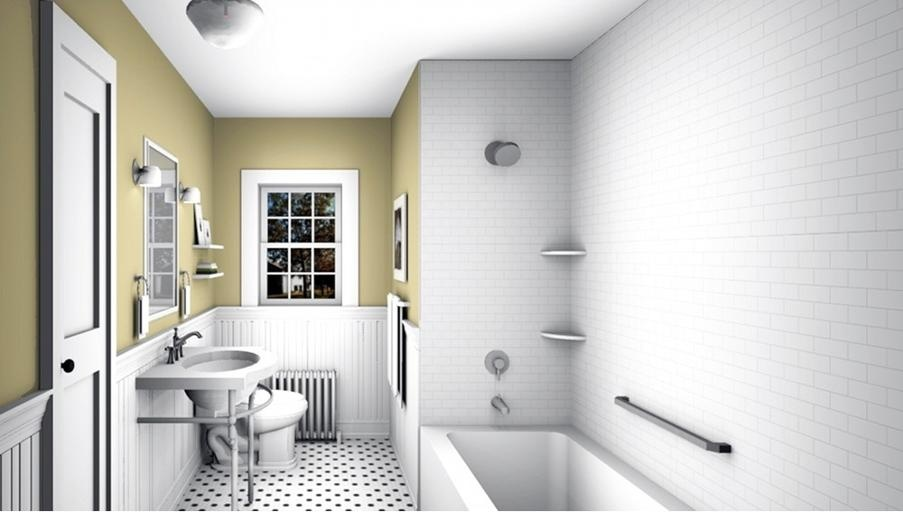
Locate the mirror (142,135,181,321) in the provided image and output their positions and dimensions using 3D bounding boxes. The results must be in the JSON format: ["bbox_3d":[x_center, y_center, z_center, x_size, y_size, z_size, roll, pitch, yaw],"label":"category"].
[{"bbox_3d":[-2.126,-0.184,4.105,0.109,0.851,0.644,-1,1,-14],"label":"mirror"}]

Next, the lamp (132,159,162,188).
[{"bbox_3d":[-2.013,-0.546,3.729,0.197,0.167,0.148,0,0,-19],"label":"lamp"}]

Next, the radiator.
[{"bbox_3d":[-1.277,1.401,5.299,0.734,0.636,0.187,1,2,-4],"label":"radiator"}]

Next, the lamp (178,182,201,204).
[{"bbox_3d":[-2.081,-0.485,4.485,0.184,0.113,0.124,-3,-8,16],"label":"lamp"}]
